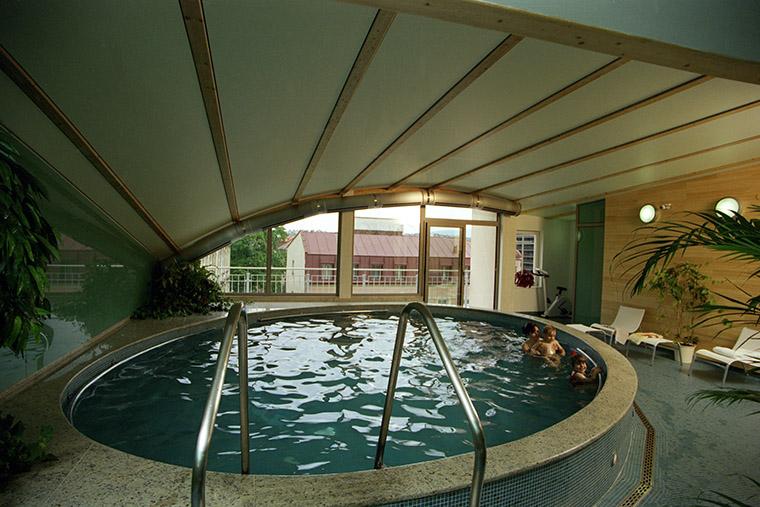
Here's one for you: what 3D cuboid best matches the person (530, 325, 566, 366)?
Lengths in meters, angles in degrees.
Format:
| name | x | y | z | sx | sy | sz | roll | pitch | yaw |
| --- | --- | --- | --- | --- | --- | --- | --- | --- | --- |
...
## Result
| name | x | y | z | sx | sy | sz | roll | pitch | yaw |
| --- | --- | --- | --- | --- | --- | --- | --- | --- | --- |
| person | 2.851 | 1.555 | 6.737 | 0.474 | 0.733 | 0.439 | 1 | -6 | -10 |

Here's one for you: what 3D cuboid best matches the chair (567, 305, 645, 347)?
| name | x | y | z | sx | sy | sz | roll | pitch | yaw |
| --- | --- | --- | --- | --- | --- | --- | --- | --- | --- |
| chair | 4.789 | 1.547 | 8.694 | 1.441 | 0.775 | 0.802 | -2 | 1 | -8 |

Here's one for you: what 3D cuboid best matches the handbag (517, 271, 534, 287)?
| name | x | y | z | sx | sy | sz | roll | pitch | yaw |
| --- | --- | --- | --- | --- | --- | --- | --- | --- | --- |
| handbag | 4.885 | 0.825 | 13.618 | 0.553 | 0.292 | 0.526 | 4 | -15 | -23 |

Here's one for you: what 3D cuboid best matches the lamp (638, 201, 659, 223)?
| name | x | y | z | sx | sy | sz | roll | pitch | yaw |
| --- | --- | --- | --- | --- | --- | --- | --- | --- | --- |
| lamp | 6.025 | -0.903 | 9.147 | 0.117 | 0.439 | 0.453 | 5 | 9 | -11 |

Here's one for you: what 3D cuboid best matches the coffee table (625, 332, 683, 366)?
| name | x | y | z | sx | sy | sz | roll | pitch | yaw |
| --- | --- | --- | --- | --- | --- | --- | --- | --- | --- |
| coffee table | 5.404 | 1.782 | 8.043 | 0.618 | 0.368 | 0.782 | 1 | 0 | -6 |
